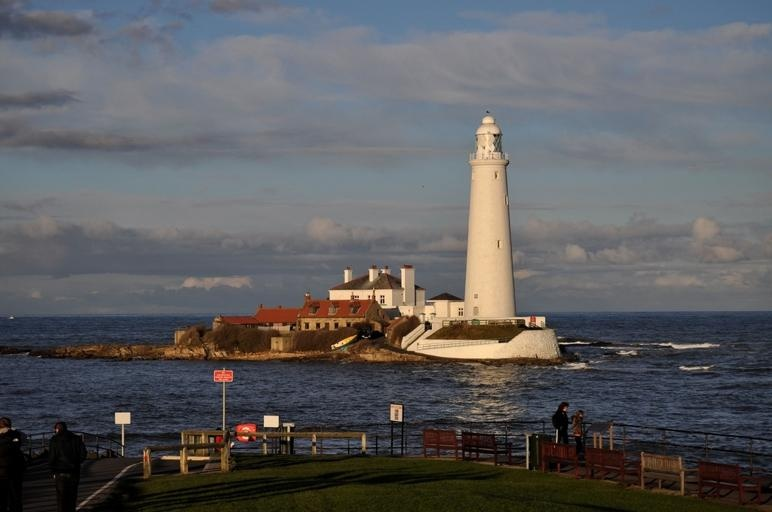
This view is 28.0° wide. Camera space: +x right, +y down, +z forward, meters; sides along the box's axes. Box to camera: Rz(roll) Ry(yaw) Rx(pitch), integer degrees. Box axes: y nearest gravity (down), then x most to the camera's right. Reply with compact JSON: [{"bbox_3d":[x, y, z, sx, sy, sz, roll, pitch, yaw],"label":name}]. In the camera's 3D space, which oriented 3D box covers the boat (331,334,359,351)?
[{"bbox_3d":[-5.618,11.532,200.620,3.371,0.705,1.795,-19,9,16],"label":"boat"}]
